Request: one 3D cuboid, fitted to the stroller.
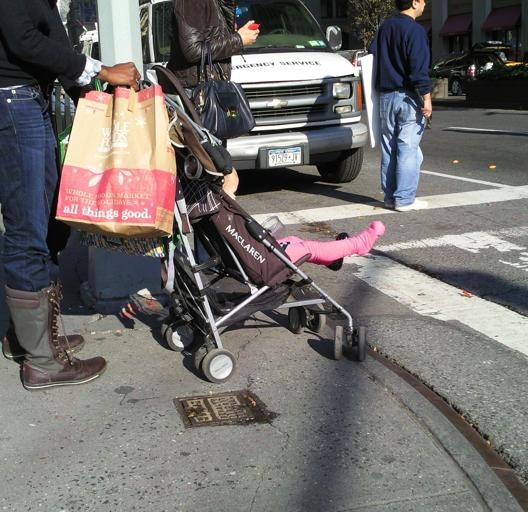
[{"bbox_3d":[-0.093,-0.209,2.511,1.021,1.676,0.728,-7,14,-21],"label":"stroller"}]

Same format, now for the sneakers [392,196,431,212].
[{"bbox_3d":[2.040,-0.714,6.124,0.555,0.192,0.181,-7,18,-17],"label":"sneakers"}]

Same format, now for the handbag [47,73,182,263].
[{"bbox_3d":[-0.656,-0.360,2.034,0.515,0.785,0.393,-2,13,-1],"label":"handbag"}]

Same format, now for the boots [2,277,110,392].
[{"bbox_3d":[-1.188,0.404,2.507,0.717,0.632,0.357,-4,13,-28],"label":"boots"}]
